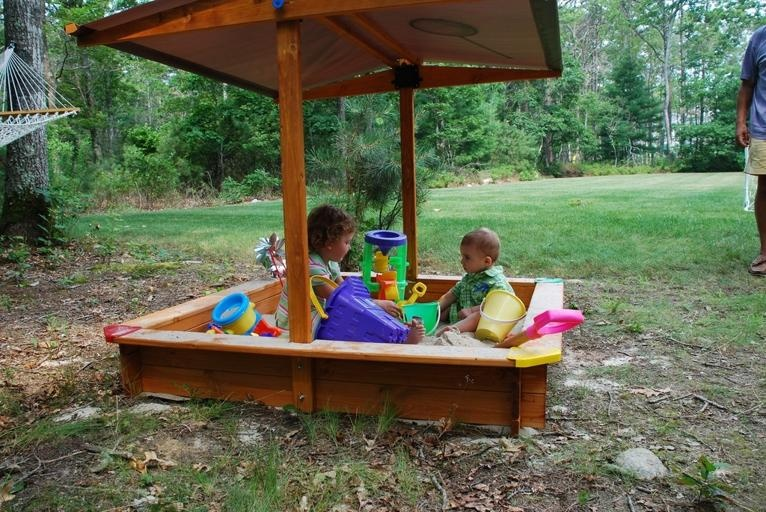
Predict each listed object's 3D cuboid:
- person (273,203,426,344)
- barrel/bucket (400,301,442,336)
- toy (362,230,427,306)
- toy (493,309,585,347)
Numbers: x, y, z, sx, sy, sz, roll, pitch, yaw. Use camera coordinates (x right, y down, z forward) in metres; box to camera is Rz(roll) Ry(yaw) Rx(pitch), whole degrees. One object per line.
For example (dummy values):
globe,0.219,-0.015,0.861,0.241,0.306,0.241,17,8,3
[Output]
person,-0.268,0.128,4.768,0.789,1.005,1.032,-7,11,-34
barrel/bucket,0.345,0.529,5.417,0.291,0.196,0.281,-1,-3,0
toy,0.084,0.120,5.392,0.461,0.733,0.657,9,16,34
toy,1.041,0.501,4.208,0.531,0.327,0.242,1,10,16
